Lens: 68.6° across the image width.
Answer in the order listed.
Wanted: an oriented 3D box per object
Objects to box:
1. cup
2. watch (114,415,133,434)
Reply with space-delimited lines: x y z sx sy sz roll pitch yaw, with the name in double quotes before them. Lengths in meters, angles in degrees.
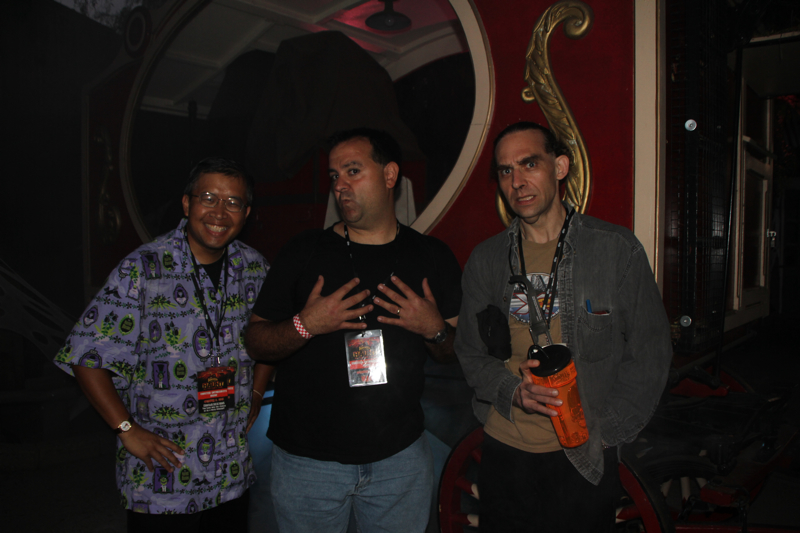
"cup" 0.726 0.608 2.671 0.281 0.496 0.172 2 3 6
"watch" -1.341 0.780 2.851 0.086 0.055 0.080 -25 -19 -47
